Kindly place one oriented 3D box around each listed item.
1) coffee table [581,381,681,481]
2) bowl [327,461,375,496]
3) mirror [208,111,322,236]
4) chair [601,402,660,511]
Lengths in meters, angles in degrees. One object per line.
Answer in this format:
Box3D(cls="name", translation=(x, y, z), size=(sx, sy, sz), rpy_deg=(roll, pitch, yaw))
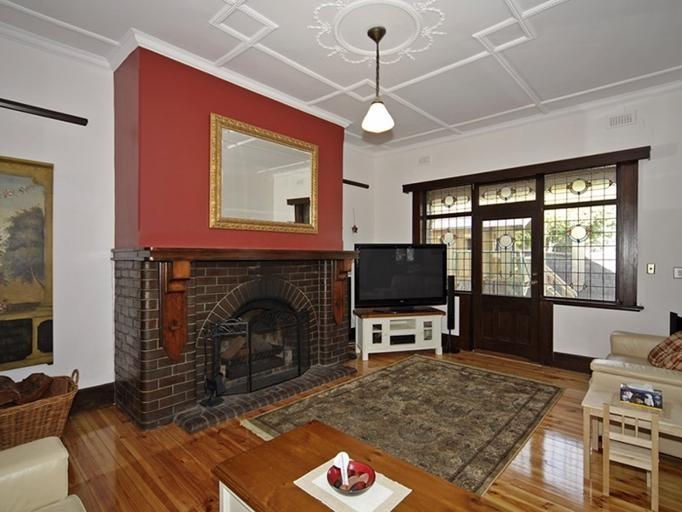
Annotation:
Box3D(cls="coffee table", translation=(2.337, 1.414, 3.592), size=(0.662, 0.645, 0.677), rpy_deg=(2, 7, 40))
Box3D(cls="bowl", translation=(0.075, 1.404, 2.822), size=(0.268, 0.084, 0.281), rpy_deg=(-3, 1, 0))
Box3D(cls="mirror", translation=(-0.865, -0.874, 4.828), size=(0.067, 1.159, 1.401), rpy_deg=(-3, -4, 45))
Box3D(cls="chair", translation=(2.256, 1.464, 3.474), size=(0.427, 0.682, 0.589), rpy_deg=(8, 15, 33))
